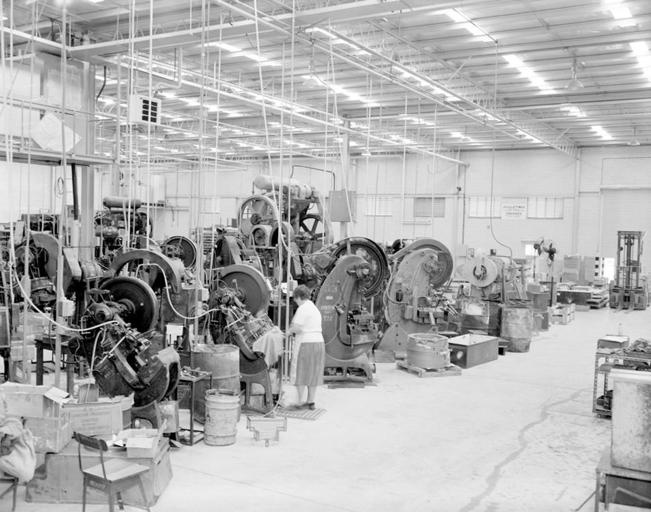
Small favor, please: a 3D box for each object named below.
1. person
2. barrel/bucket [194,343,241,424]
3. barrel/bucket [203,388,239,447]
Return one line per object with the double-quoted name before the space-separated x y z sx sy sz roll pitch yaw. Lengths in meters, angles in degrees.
"person" -0.265 1.283 8.940 0.485 1.496 0.667 1 0 3
"barrel/bucket" -1.348 1.600 8.151 0.741 0.880 0.777 1 -2 0
"barrel/bucket" -1.156 1.949 7.789 0.494 0.601 0.531 1 -2 0
